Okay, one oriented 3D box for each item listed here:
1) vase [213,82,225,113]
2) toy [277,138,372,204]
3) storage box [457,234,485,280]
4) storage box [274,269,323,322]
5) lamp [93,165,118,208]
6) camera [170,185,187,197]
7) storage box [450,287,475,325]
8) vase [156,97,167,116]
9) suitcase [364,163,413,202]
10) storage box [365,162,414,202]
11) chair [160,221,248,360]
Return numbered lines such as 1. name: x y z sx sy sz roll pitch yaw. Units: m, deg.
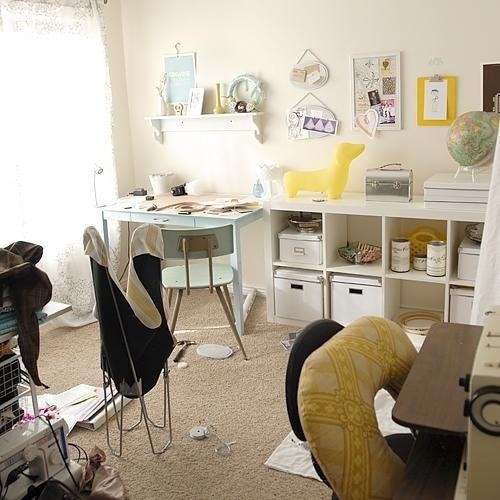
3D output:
1. vase: -0.240 -1.192 3.352 0.082 0.242 0.167 -2 15 -4
2. toy: 0.507 -0.514 2.898 0.751 0.558 0.262 3 20 18
3. storage box: 1.125 0.040 2.179 0.122 0.163 0.235 3 12 19
4. storage box: 0.372 0.289 3.158 0.405 0.421 0.335 3 11 23
5. lamp: -1.200 -0.523 3.517 0.172 0.429 0.174 -13 31 -14
6. camera: -0.598 -0.490 3.589 0.125 0.078 0.047 -6 9 0
7. storage box: 1.267 0.340 2.579 0.123 0.209 0.140 6 16 25
8. vase: -0.719 -1.194 3.551 0.078 0.149 0.064 -4 15 -11
9. suitcase: 0.906 -0.456 2.796 0.311 0.292 0.208 7 24 24
10. storage box: 0.906 -0.444 2.798 0.311 0.290 0.208 7 23 24
11. chair: -0.319 0.226 2.849 0.547 0.881 0.613 -6 20 -18
